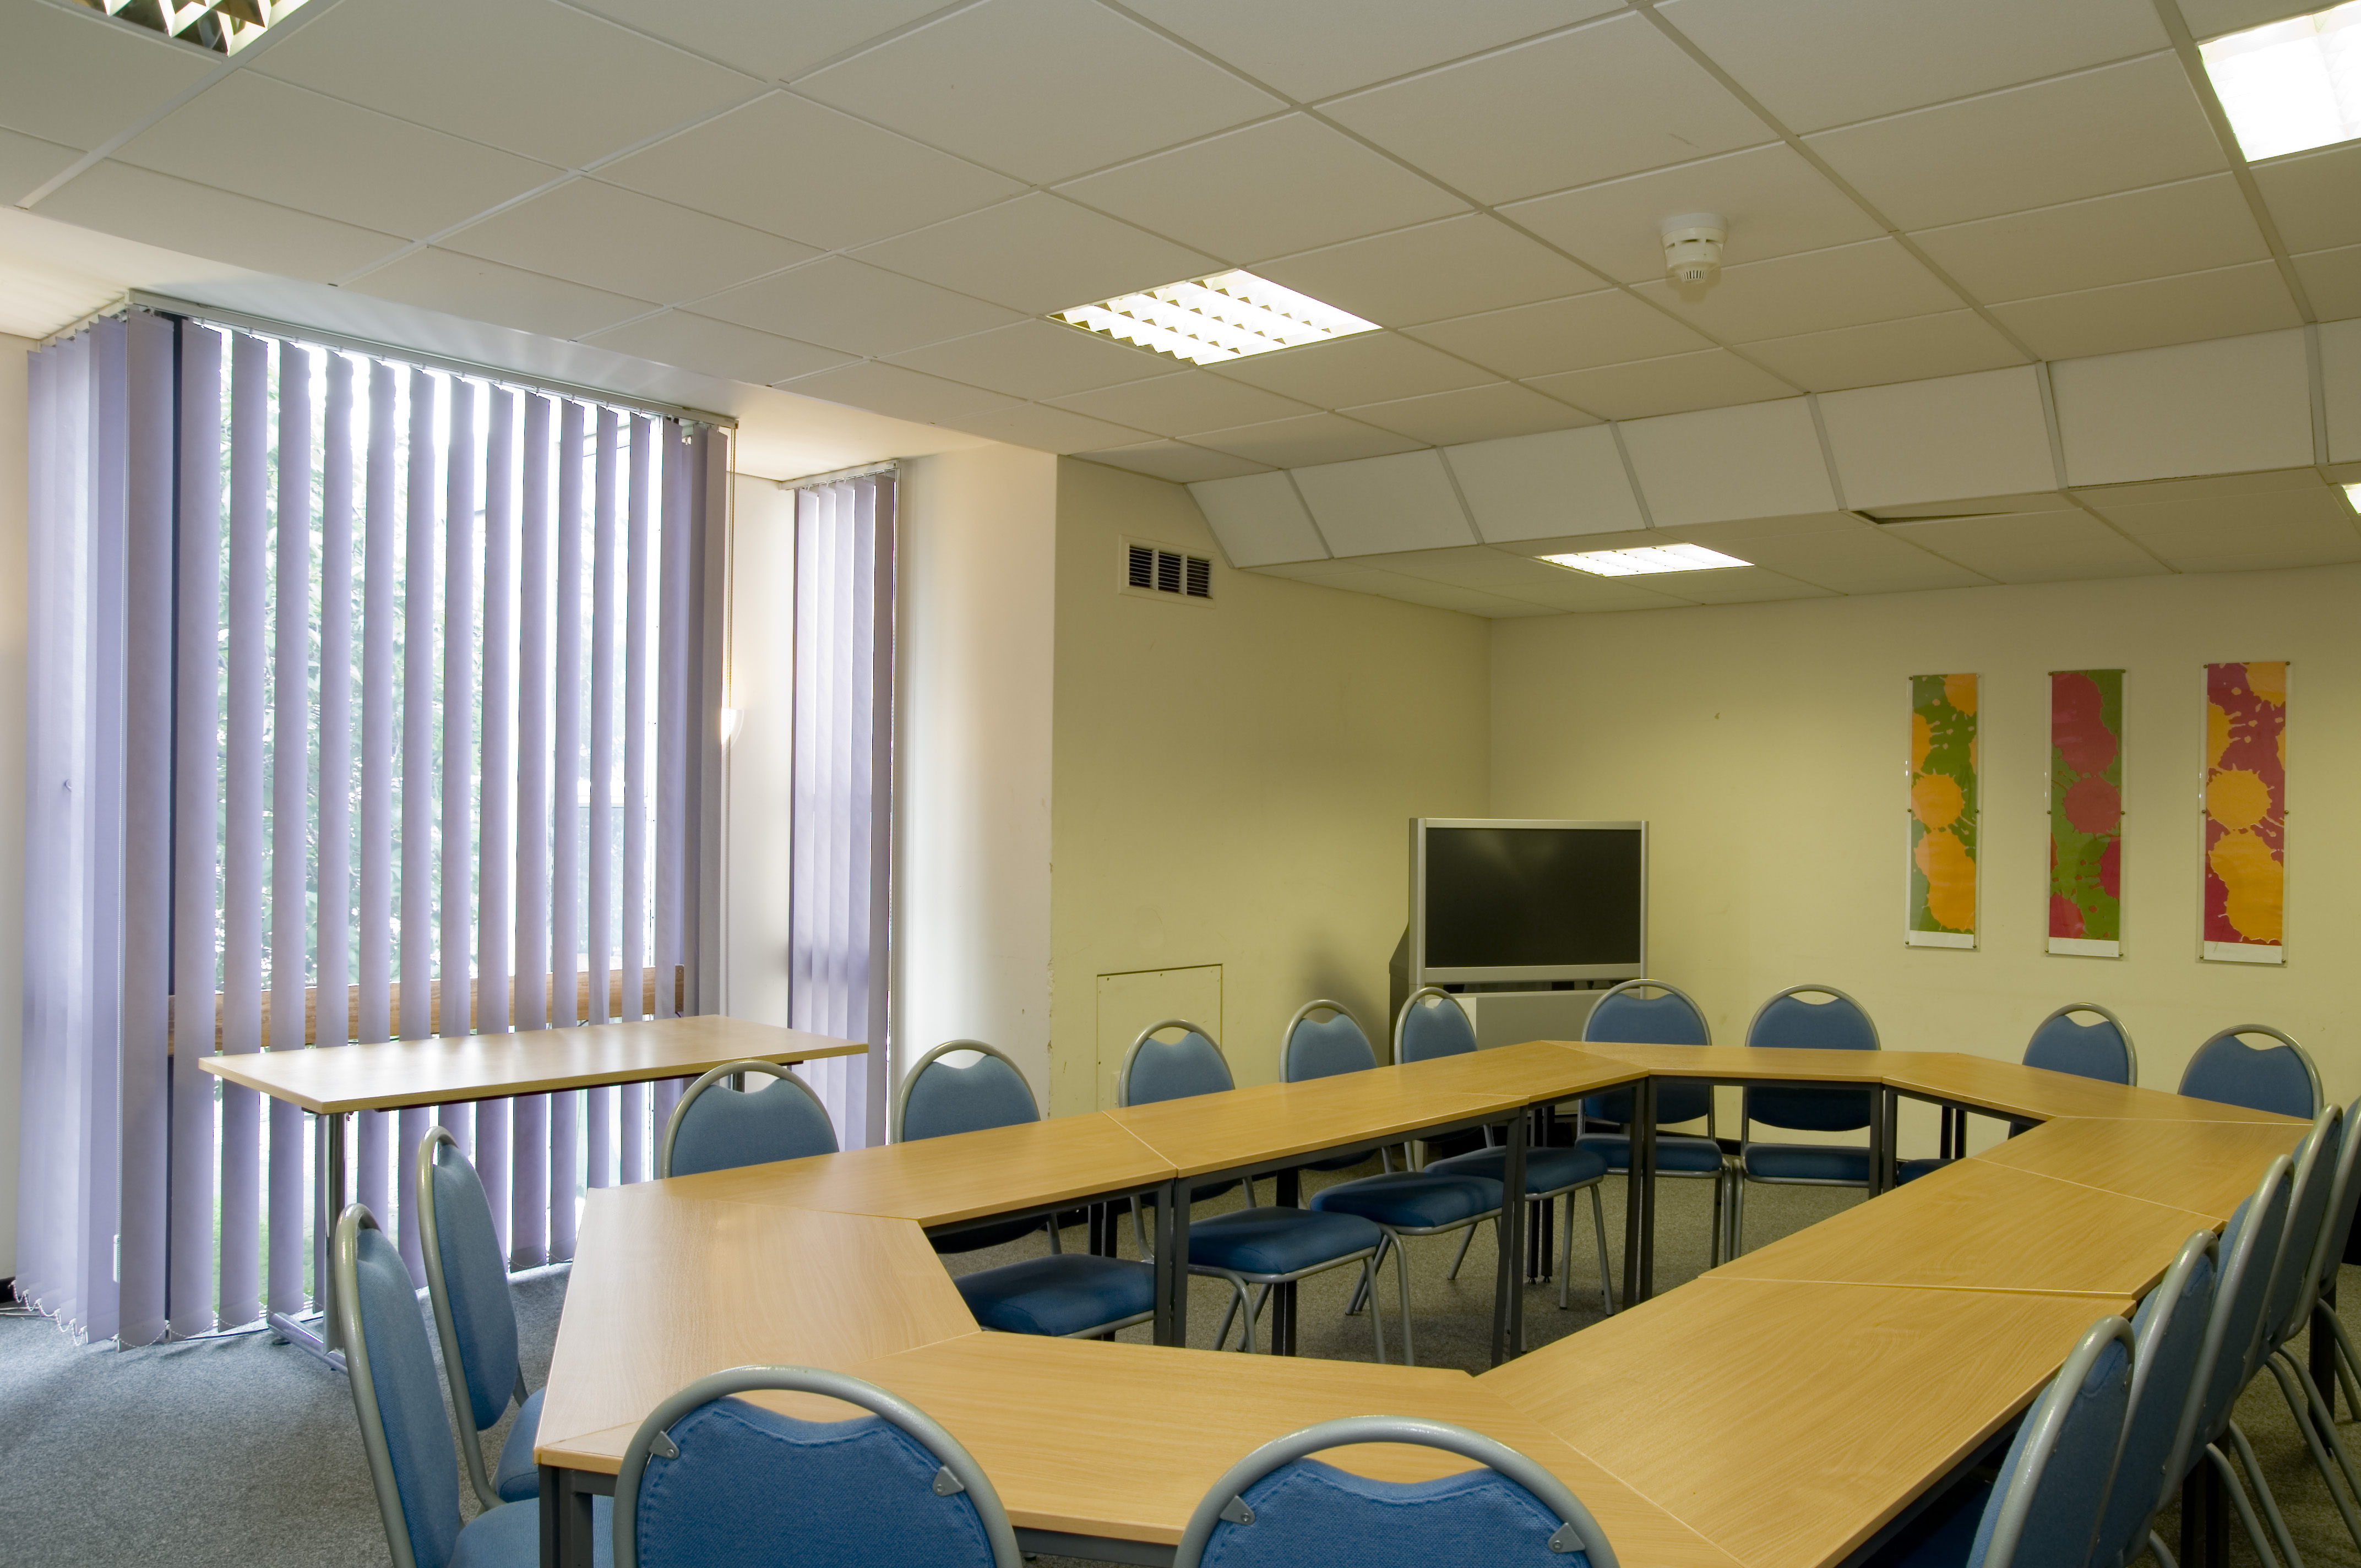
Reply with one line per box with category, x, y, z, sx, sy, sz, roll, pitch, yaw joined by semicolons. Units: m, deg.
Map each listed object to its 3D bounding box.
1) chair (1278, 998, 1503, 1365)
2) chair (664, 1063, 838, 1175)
chair;0.572;1.424;6.833;0.716;1.058;0.630;-11;-13;-44
chair;-1.439;1.093;5.783;0.364;0.592;0.420;3;-9;-31
